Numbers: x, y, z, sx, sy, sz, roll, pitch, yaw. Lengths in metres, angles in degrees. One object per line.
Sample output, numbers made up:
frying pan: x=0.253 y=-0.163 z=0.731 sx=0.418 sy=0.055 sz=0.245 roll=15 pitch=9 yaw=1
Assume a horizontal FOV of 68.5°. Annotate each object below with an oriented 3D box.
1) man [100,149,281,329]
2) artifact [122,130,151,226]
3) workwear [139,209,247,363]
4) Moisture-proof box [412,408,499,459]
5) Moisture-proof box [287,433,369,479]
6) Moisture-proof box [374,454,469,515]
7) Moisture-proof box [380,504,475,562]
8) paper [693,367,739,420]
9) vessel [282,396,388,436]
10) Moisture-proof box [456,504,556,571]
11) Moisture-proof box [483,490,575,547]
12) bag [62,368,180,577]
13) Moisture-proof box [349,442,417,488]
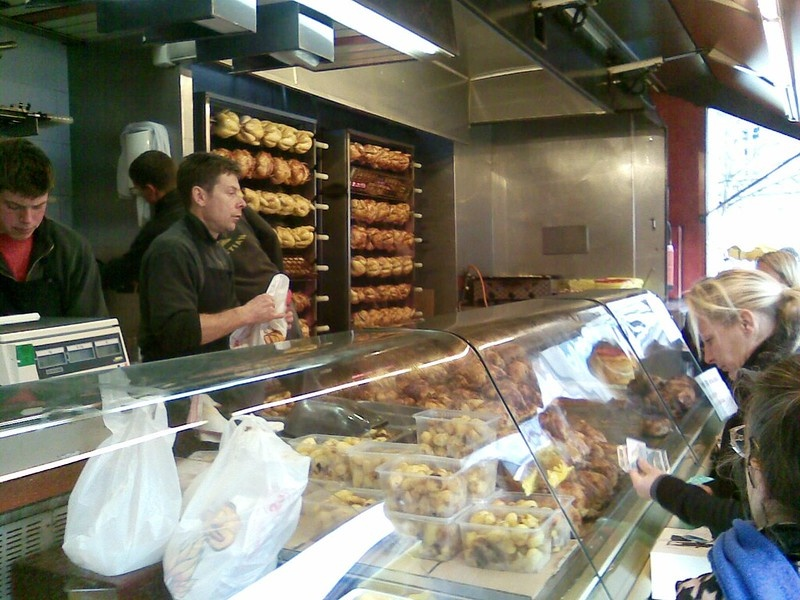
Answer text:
man: x=-1.071 y=-0.382 z=3.036 sx=0.611 sy=0.525 sz=0.951 roll=2 pitch=43 yaw=-16
artifact: x=-1.324 y=-0.634 z=2.982 sx=0.107 sy=0.409 sz=0.278 roll=-8 pitch=17 yaw=-40
workwear: x=-0.931 y=-0.065 z=2.695 sx=0.409 sy=0.647 sz=0.700 roll=1 pitch=14 yaw=8
Moisture-proof box: x=0.134 y=0.311 z=1.447 sx=0.138 sy=0.078 sz=0.135 roll=0 pitch=0 yaw=26
Moisture-proof box: x=-0.154 y=0.334 z=1.255 sx=0.124 sy=0.041 sz=0.083 roll=0 pitch=3 yaw=9
Moisture-proof box: x=0.046 y=0.404 z=1.327 sx=0.168 sy=0.070 sz=0.125 roll=1 pitch=5 yaw=17
Moisture-proof box: x=0.069 y=0.546 z=1.366 sx=0.162 sy=0.099 sz=0.204 roll=-3 pitch=-20 yaw=11
paper: x=1.492 y=0.416 z=2.795 sx=0.050 sy=0.214 sz=0.236 roll=22 pitch=-8 yaw=-29
vessel: x=-0.149 y=0.252 z=1.312 sx=0.146 sy=0.041 sz=0.097 roll=-1 pitch=2 yaw=-11
Moisture-proof box: x=0.250 y=0.533 z=1.343 sx=0.177 sy=0.068 sz=0.137 roll=1 pitch=6 yaw=9
Moisture-proof box: x=0.319 y=0.516 z=1.439 sx=0.189 sy=0.073 sz=0.126 roll=-1 pitch=3 yaw=24
bag: x=-0.487 y=0.325 z=1.029 sx=0.186 sy=0.292 sz=0.094 roll=-4 pitch=6 yaw=-29
Moisture-proof box: x=-0.045 y=0.367 z=1.329 sx=0.082 sy=0.051 sz=0.119 roll=1 pitch=1 yaw=33
